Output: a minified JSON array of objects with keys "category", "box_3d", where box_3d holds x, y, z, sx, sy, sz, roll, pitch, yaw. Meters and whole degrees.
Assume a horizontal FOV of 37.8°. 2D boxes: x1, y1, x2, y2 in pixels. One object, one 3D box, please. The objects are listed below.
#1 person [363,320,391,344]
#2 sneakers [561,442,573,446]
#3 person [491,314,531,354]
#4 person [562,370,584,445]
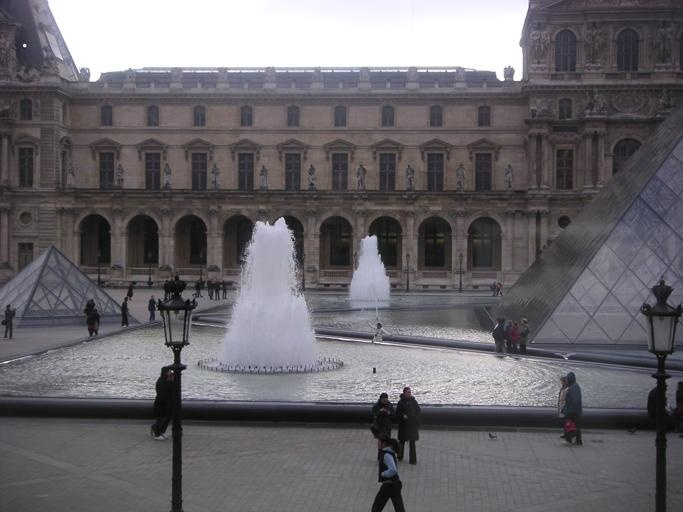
[{"category":"person","box_3d":[1.314,3.088,38.765,0.943,1.357,0.616,-1,15,8]},{"category":"sneakers","box_3d":[5.685,4.752,25.146,0.227,0.099,0.085,-7,-4,38]},{"category":"person","box_3d":[6.112,2.890,35.764,1.184,1.244,1.396,-1,-4,16]},{"category":"person","box_3d":[5.875,3.868,25.243,0.460,1.780,0.487,0,-3,10]}]
